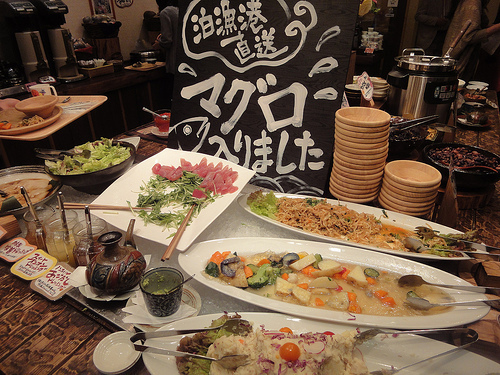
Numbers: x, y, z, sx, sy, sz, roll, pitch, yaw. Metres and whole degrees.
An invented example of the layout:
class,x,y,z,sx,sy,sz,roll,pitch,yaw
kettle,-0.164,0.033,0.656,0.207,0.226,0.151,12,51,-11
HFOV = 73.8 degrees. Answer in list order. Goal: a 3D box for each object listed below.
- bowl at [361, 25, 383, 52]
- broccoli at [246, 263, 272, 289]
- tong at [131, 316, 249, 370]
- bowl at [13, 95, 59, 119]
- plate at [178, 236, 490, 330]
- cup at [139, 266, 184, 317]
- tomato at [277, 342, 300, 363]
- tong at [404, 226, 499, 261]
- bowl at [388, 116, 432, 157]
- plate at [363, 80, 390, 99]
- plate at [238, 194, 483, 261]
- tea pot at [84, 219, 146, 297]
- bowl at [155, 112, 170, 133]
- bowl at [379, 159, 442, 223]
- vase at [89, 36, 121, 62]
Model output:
class,x,y,z,sx,sy,sz,roll,pitch,yaw
bowl,2.450,-2.963,6.662,0.452,0.406,0.598,13,35,15
broccoli,0.042,0.456,1.755,0.105,0.037,0.161,-1,33,47
tong,-0.258,0.661,1.414,0.433,0.047,0.191,0,32,7
bowl,-1.642,-0.636,2.562,0.256,0.093,0.230,-1,27,2
plate,0.390,0.522,1.773,1.377,0.127,0.524,10,27,15
cup,-0.403,0.476,1.634,0.221,0.158,0.220,2,25,-1
tomato,0.164,0.671,1.360,0.086,0.044,0.064,8,34,9
tong,1.033,0.322,1.880,0.609,0.097,0.165,6,42,26
bowl,1.124,-0.348,2.355,0.313,0.113,0.284,-9,25,-3
plate,1.265,-0.975,3.351,0.235,0.141,0.216,4,24,11
plate,0.554,0.209,2.017,1.373,0.128,0.410,13,31,15
tea pot,-0.715,0.339,1.818,0.313,0.219,0.459,13,24,7
bowl,-0.786,-0.600,3.040,0.196,0.138,0.185,1,20,0
bowl,1.077,0.011,2.175,0.400,0.262,0.393,1,22,0
vase,-2.480,-2.428,5.745,0.409,0.272,0.371,-18,39,-14
